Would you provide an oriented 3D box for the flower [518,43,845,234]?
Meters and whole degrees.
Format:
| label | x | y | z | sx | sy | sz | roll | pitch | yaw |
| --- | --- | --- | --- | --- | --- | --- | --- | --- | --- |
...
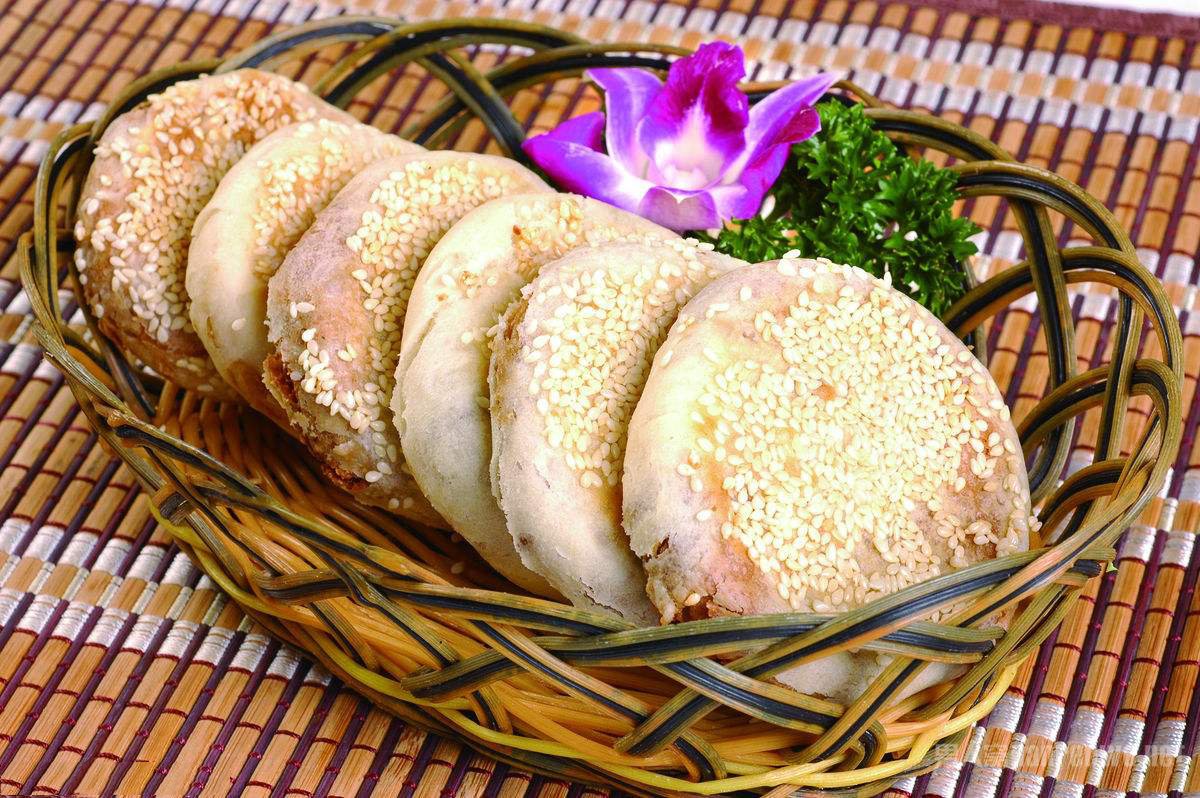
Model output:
| label | x | y | z | sx | sy | sz | roll | pitch | yaw |
| --- | --- | --- | --- | --- | --- | --- | --- | --- | --- |
| flower | 0.147 | -0.435 | 2.674 | 0.439 | 0.157 | 0.386 | -29 | 54 | -20 |
